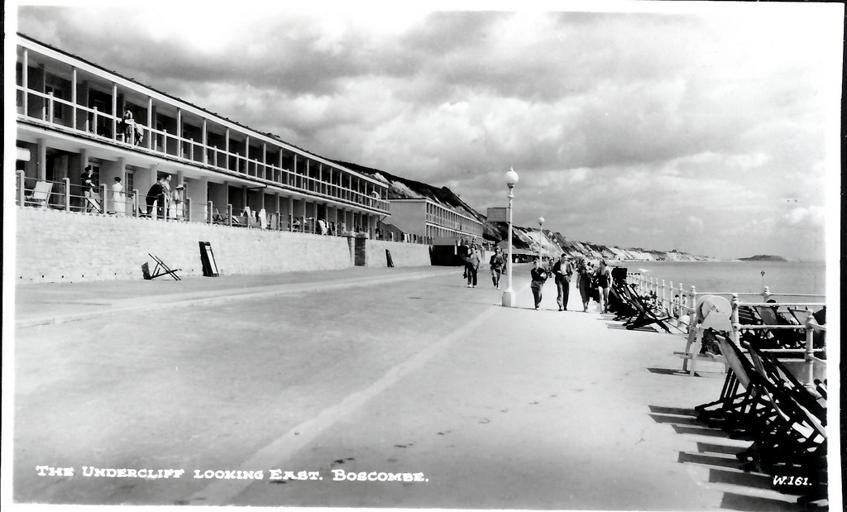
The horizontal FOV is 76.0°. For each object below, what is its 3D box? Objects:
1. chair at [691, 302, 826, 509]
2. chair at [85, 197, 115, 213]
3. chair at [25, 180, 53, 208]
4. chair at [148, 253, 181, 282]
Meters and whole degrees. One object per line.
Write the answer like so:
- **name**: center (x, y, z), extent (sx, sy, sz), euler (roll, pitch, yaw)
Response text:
- **chair**: center (5.647, 2.547, 9.244), extent (1.088, 0.952, 2.623), euler (2, 14, 1)
- **chair**: center (-15.173, -2.391, 25.527), extent (1.652, 0.513, 0.954), euler (7, -5, 30)
- **chair**: center (-16.005, -2.589, 22.761), extent (0.945, 1.081, 0.957), euler (-10, 16, -44)
- **chair**: center (-13.096, 0.614, 27.470), extent (1.906, 0.952, 1.290), euler (8, 11, -3)
